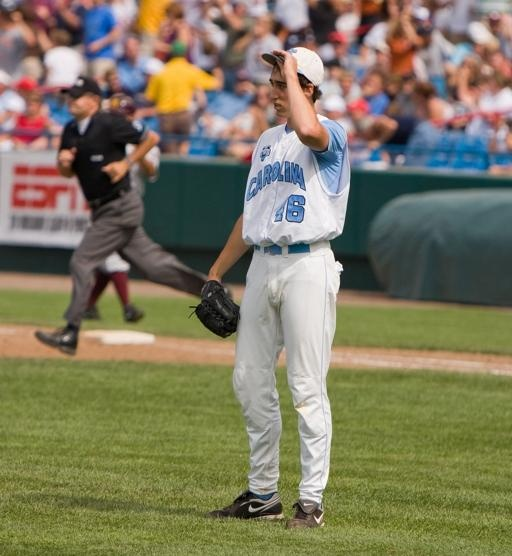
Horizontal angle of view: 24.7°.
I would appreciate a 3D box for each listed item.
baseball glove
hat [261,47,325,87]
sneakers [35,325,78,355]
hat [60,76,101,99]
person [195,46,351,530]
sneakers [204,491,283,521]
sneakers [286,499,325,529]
[{"bbox_3d":[-0.175,0.123,4.592,0.217,0.099,0.169,53,10,28],"label":"baseball glove"},{"bbox_3d":[0.129,-0.834,4.366,0.244,0.115,0.147,14,21,-32],"label":"hat"},{"bbox_3d":[-0.878,0.275,5.182,0.212,0.118,0.122,-2,11,-26],"label":"sneakers"},{"bbox_3d":[-0.865,-0.951,5.781,0.106,0.091,0.171,6,6,42],"label":"hat"},{"bbox_3d":[0.049,0.026,4.411,0.604,1.790,0.464,6,11,20],"label":"person"},{"bbox_3d":[-0.039,0.869,4.484,0.313,0.119,0.103,1,-5,2],"label":"sneakers"},{"bbox_3d":[0.181,0.866,4.324,0.131,0.096,0.140,3,10,2],"label":"sneakers"}]
